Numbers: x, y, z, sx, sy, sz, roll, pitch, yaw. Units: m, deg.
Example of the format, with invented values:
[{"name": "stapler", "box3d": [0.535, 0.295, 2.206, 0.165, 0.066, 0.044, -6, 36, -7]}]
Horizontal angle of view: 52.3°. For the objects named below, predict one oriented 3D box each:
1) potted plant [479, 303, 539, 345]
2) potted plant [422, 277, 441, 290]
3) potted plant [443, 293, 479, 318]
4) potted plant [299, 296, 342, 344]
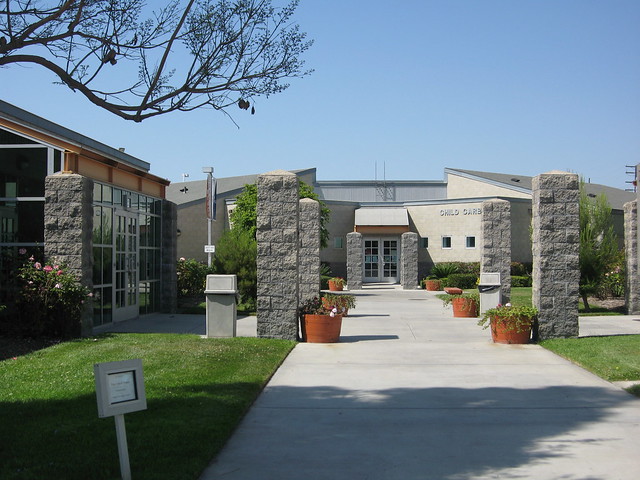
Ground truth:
[{"name": "potted plant", "box3d": [4.413, 1.979, 15.103, 1.294, 0.819, 1.363, -6, -10, 31]}, {"name": "potted plant", "box3d": [6.438, 2.526, 37.448, 0.652, 0.496, 0.737, 1, -8, -10]}, {"name": "potted plant", "box3d": [4.649, 2.109, 20.776, 0.849, 0.671, 0.750, 1, 3, 2]}, {"name": "potted plant", "box3d": [-0.018, 1.891, 15.390, 0.940, 0.925, 1.200, 0, 3, -10]}]
